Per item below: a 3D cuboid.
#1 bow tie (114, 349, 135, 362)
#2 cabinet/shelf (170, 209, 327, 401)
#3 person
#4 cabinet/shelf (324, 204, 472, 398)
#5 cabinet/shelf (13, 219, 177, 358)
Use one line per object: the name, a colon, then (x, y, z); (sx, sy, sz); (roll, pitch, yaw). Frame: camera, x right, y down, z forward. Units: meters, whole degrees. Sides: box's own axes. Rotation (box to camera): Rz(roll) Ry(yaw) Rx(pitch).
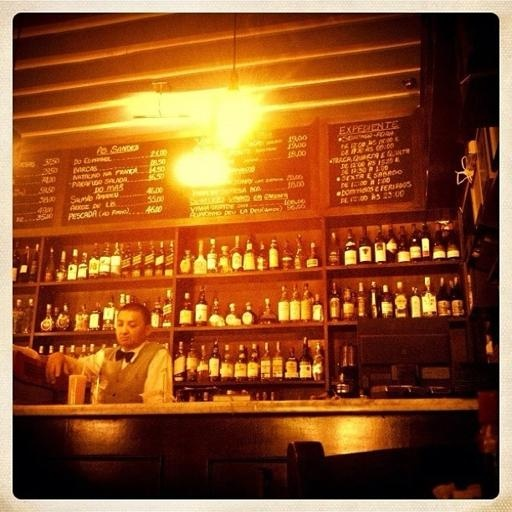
bow tie: (-0.816, 0.621, 3.158); (0.084, 0.031, 0.089); (-5, 14, 17)
cabinet/shelf: (-0.040, 0.399, 3.751); (1.219, 1.235, 0.340); (-2, -11, 9)
person: (-0.892, 0.790, 3.143); (0.661, 1.001, 0.495); (0, -25, -1)
cabinet/shelf: (0.875, 0.382, 3.414); (0.717, 1.378, 0.326); (-5, -17, 16)
cabinet/shelf: (-1.608, 0.328, 4.258); (0.221, 0.865, 1.338); (-8, -2, 8)
